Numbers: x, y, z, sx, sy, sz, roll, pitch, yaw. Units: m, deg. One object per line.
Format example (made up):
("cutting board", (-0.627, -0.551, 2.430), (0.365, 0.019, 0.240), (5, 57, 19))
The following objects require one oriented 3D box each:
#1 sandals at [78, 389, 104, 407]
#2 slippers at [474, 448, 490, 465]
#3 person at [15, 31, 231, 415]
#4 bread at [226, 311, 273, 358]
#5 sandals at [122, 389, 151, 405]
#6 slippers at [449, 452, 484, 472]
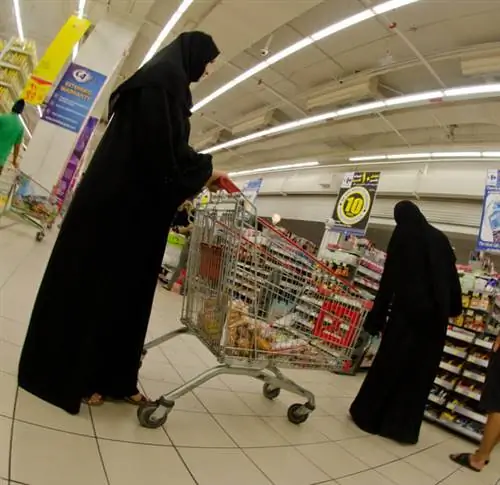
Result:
("sandals", (-0.719, 0.721, 1.652), (0.115, 0.059, 0.033), (6, -16, -38))
("slippers", (1.618, 1.528, 2.533), (0.073, 0.083, 0.232), (-2, -12, 33))
("person", (-0.513, -0.185, 1.696), (0.561, 1.910, 0.395), (20, -3, -23))
("bread", (-0.001, 0.492, 1.915), (0.360, 0.242, 0.081), (18, -1, -44))
("sandals", (-0.564, 0.775, 1.796), (0.163, 0.041, 0.060), (20, 32, -43))
("slippers", (1.465, 1.497, 2.459), (0.177, 0.058, 0.093), (15, 3, 40))
